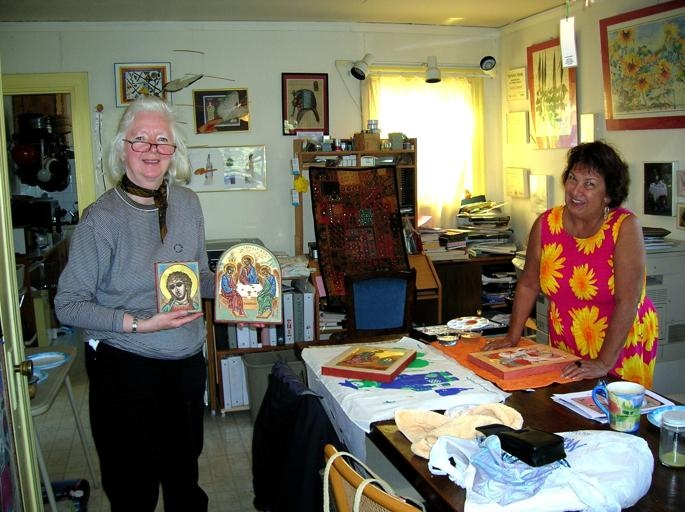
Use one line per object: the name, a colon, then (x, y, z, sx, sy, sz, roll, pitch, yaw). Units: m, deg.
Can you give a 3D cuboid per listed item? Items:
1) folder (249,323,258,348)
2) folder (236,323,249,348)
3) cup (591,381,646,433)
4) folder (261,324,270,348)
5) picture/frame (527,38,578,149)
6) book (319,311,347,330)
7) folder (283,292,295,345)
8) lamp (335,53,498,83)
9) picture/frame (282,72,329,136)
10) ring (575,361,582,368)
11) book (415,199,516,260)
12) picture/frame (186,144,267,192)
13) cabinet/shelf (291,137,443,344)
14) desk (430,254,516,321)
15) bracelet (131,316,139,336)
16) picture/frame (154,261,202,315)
folder: (-0.677, 0.611, 3.854, 0.076, 0.199, 0.127, -6, 9, -13)
folder: (-0.749, 0.605, 3.837, 0.098, 0.216, 0.158, -6, 9, -16)
cup: (0.886, 0.481, 1.674, 0.129, 0.127, 0.182, -2, 3, -7)
folder: (-0.602, 0.614, 3.896, 0.071, 0.171, 0.083, -2, 9, 13)
picture/frame: (2.169, -1.660, 5.215, 0.098, 1.096, 0.714, -7, 9, -18)
book: (-0.083, 0.514, 4.088, 0.202, 0.144, 0.082, -3, 9, 1)
folder: (-0.412, 0.481, 3.907, 0.090, 0.401, 0.048, -7, 9, -20)
lamp: (0.886, -2.017, 5.454, 1.841, 0.336, 0.556, -6, 10, -16)
picture/frame: (-0.418, -1.638, 5.380, 0.737, 0.802, 0.036, 0, -1, -10)
ring: (0.926, 0.423, 1.978, 0.021, 0.006, 0.020, -5, 10, 1)
book: (1.400, -0.245, 5.513, 0.751, 0.274, 0.873, -3, 13, -1)
picture/frame: (-1.206, -0.916, 5.168, 0.890, 0.471, 0.015, -1, 5, -8)
cabinet/shelf: (0.315, -0.257, 4.850, 1.275, 1.817, 1.545, -5, 9, -11)
desk: (1.245, 0.289, 4.942, 0.727, 0.612, 0.266, -2, 1, -18)
bracelet: (-0.759, 0.253, 1.855, 0.032, 0.048, 0.048, 6, 25, -5)
picture/frame: (-0.644, 0.121, 1.960, 0.214, 0.242, 0.038, -5, -1, -35)
